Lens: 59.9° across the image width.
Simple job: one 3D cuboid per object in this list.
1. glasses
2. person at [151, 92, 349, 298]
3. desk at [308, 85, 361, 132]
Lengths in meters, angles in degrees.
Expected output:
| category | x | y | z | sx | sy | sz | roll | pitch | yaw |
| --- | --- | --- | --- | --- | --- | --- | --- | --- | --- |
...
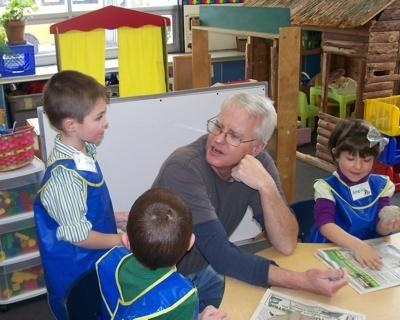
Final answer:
| category | x | y | z | sx | sy | sz | roll | pitch | yaw |
| --- | --- | --- | --- | --- | --- | --- | --- | --- | --- |
| glasses | 0.153 | -0.097 | 1.654 | 0.196 | 0.063 | 0.203 | 39 | 16 | 23 |
| person | 0.152 | 0.233 | 1.586 | 0.382 | 0.956 | 1.019 | 7 | -4 | -37 |
| desk | 1.843 | -0.712 | 4.900 | 0.583 | 0.606 | 0.578 | -21 | 31 | -39 |
